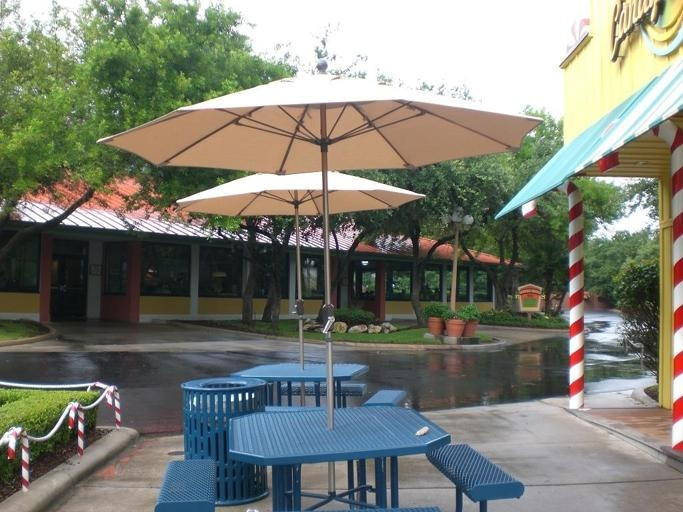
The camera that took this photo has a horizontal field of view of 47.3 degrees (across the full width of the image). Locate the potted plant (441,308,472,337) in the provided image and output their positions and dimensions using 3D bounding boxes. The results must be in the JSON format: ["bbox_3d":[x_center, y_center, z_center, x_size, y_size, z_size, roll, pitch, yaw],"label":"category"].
[{"bbox_3d":[3.896,2.278,26.194,0.894,1.009,0.881,1,-19,7],"label":"potted plant"}]

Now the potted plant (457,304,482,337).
[{"bbox_3d":[4.355,2.159,26.286,0.869,0.996,0.929,-1,-2,18],"label":"potted plant"}]

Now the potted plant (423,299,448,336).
[{"bbox_3d":[3.226,2.094,26.730,1.003,1.202,0.945,3,-12,-12],"label":"potted plant"}]
